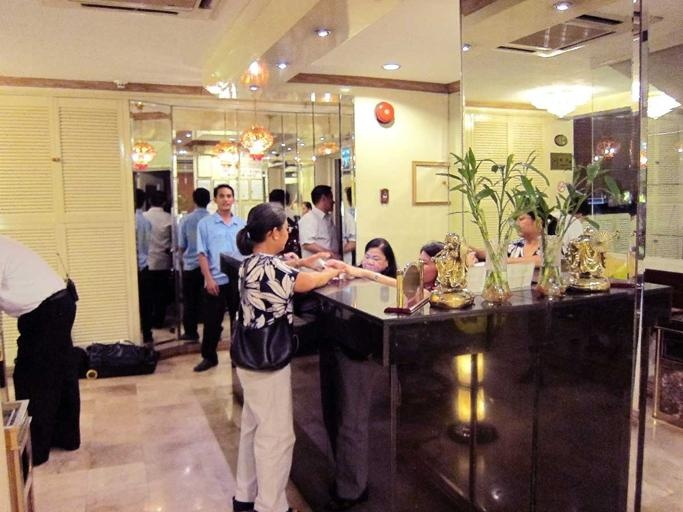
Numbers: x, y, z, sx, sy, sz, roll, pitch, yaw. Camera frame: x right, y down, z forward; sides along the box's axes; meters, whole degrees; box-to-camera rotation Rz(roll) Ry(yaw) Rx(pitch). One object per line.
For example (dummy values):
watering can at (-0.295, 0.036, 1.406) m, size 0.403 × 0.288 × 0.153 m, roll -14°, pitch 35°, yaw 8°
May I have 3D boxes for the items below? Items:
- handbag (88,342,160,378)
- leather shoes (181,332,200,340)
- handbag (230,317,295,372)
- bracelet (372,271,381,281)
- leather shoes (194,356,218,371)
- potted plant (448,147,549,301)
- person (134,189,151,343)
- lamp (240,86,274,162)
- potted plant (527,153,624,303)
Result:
handbag at (-2.156, 1.021, 5.213) m, size 0.414 × 0.136 × 0.410 m, roll 0°, pitch 6°, yaw -20°
leather shoes at (-1.693, 0.900, 5.909) m, size 0.198 × 0.084 × 0.066 m, roll 7°, pitch -7°, yaw -22°
handbag at (-0.406, 0.437, 2.771) m, size 0.285 × 0.222 × 0.282 m, roll -5°, pitch 7°, yaw -36°
bracelet at (0.199, 0.116, 3.000) m, size 0.012 × 0.041 × 0.043 m, roll 7°, pitch -7°, yaw -31°
leather shoes at (-1.381, 1.103, 5.388) m, size 0.086 × 0.107 × 0.256 m, roll -2°, pitch -4°, yaw 31°
potted plant at (0.734, -0.097, 2.492) m, size 0.399 × 0.605 × 0.347 m, roll 11°, pitch -13°, yaw -12°
person at (-2.104, 0.119, 5.636) m, size 0.165 × 1.641 × 0.145 m, roll -3°, pitch 9°, yaw -14°
lamp at (-0.959, -1.436, 5.917) m, size 0.344 × 0.742 × 0.343 m, roll -2°, pitch 0°, yaw -8°
potted plant at (1.048, -0.097, 2.509) m, size 0.510 × 0.601 × 0.385 m, roll -14°, pitch -2°, yaw -44°
